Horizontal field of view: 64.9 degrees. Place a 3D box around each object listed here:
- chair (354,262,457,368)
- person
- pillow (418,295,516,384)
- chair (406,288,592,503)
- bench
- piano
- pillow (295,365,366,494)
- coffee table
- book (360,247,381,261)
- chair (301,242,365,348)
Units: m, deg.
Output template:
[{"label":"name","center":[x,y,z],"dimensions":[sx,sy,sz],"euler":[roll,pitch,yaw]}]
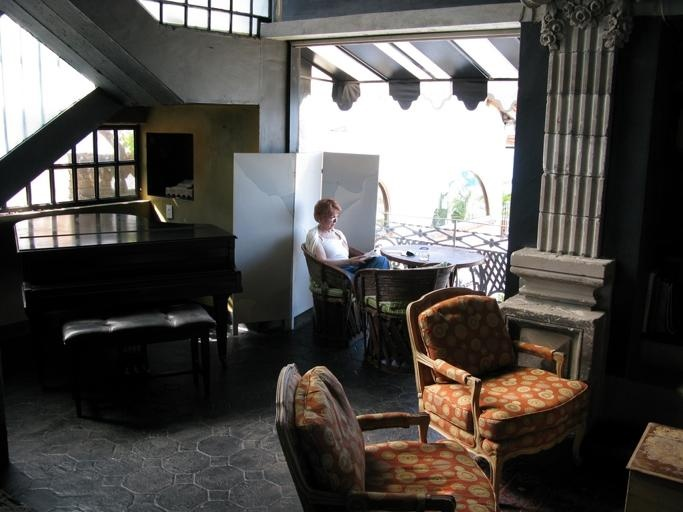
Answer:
[{"label":"chair","center":[0.537,0.478,5.563],"dimensions":[0.888,1.038,1.015],"euler":[-3,17,-11]},{"label":"person","center":[0.033,-0.058,5.819],"dimensions":[0.834,1.025,0.662],"euler":[7,15,28]},{"label":"pillow","center":[0.858,0.608,3.829],"dimensions":[0.648,0.598,0.154],"euler":[-11,-10,-31]},{"label":"chair","center":[1.046,0.878,3.742],"dimensions":[1.006,1.089,1.082],"euler":[-10,12,-41]},{"label":"bench","center":[-1.765,0.928,4.735],"dimensions":[1.185,0.816,0.631],"euler":[-3,8,-27]},{"label":"piano","center":[-2.437,0.204,5.529],"dimensions":[1.842,1.228,2.604],"euler":[-12,25,-44]},{"label":"pillow","center":[-0.060,0.905,2.723],"dimensions":[0.348,0.498,0.529],"euler":[-1,7,0]},{"label":"coffee table","center":[1.013,0.160,6.242],"dimensions":[0.760,0.275,0.770],"euler":[15,0,-13]},{"label":"book","center":[0.302,0.008,5.971],"dimensions":[0.168,0.054,0.167],"euler":[-23,2,-37]},{"label":"chair","center":[-0.237,0.324,6.131],"dimensions":[0.905,1.270,1.080],"euler":[0,9,6]}]
